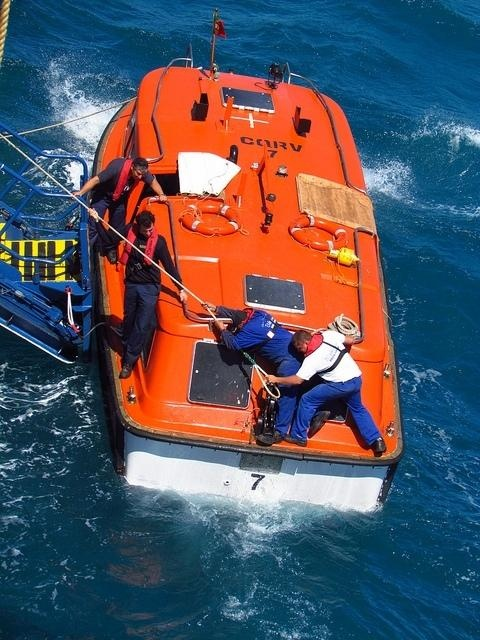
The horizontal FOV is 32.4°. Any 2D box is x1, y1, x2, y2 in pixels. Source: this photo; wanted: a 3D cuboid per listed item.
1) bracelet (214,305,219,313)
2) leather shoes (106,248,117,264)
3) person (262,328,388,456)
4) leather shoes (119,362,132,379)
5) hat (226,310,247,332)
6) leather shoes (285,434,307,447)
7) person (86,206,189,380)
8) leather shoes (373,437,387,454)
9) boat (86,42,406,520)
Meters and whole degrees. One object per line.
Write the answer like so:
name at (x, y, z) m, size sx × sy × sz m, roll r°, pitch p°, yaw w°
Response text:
bracelet at (-0.249, -0.106, 8.484) m, size 0.064 × 0.056 × 0.052 m, roll 3°, pitch 73°, yaw -6°
leather shoes at (-1.573, -0.781, 10.163) m, size 0.142 × 0.166 × 0.053 m, roll -3°, pitch 13°, yaw 11°
person at (0.812, 0.759, 8.416) m, size 1.055 × 0.987 × 0.754 m, roll 17°, pitch 42°, yaw 20°
leather shoes at (-1.231, 0.541, 8.858) m, size 0.112 × 0.072 × 0.180 m, roll 3°, pitch 46°, yaw -5°
hat at (0.000, 0.013, 8.368) m, size 0.153 × 0.205 × 0.066 m, roll 22°, pitch -10°, yaw 37°
leather shoes at (0.581, 1.233, 8.434) m, size 0.240 × 0.094 × 0.081 m, roll 16°, pitch 33°, yaw 5°
person at (-0.977, -0.275, 8.751) m, size 0.603 × 1.785 × 0.783 m, roll 4°, pitch 34°, yaw -18°
leather shoes at (1.439, 1.291, 8.509) m, size 0.091 × 0.103 × 0.234 m, roll -28°, pitch 4°, yaw 9°
boat at (-0.012, -0.436, 10.487) m, size 3.505 × 2.103 × 5.699 m, roll 1°, pitch 49°, yaw -8°
